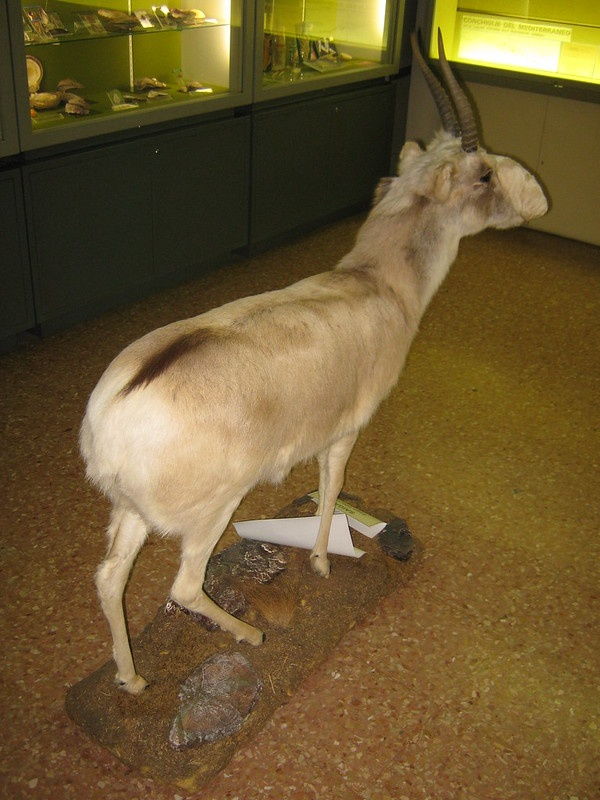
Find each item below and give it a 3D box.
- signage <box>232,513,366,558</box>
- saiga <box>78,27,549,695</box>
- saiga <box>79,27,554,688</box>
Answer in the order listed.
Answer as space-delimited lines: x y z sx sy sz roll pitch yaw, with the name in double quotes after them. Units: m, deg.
0.009 0.530 2.597 0.367 0.239 0.124 2 44 22 "signage"
0.003 -0.099 2.066 0.400 1.753 1.447 29 39 31 "saiga"
0.094 -0.048 2.158 0.420 1.452 1.727 20 30 38 "saiga"
